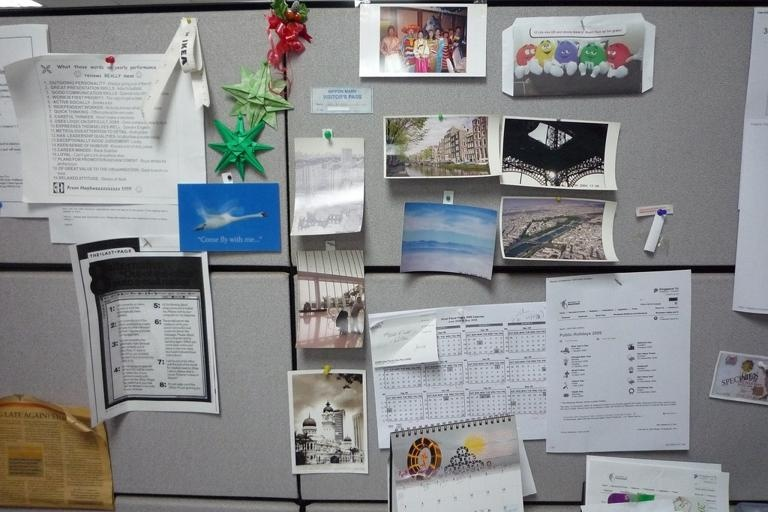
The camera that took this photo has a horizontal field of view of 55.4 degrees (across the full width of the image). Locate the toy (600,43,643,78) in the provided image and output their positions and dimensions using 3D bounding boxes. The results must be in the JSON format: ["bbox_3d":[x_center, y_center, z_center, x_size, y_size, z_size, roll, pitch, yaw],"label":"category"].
[{"bbox_3d":[0.538,-0.447,1.661,0.082,0.069,0.061,12,21,-5],"label":"toy"}]
